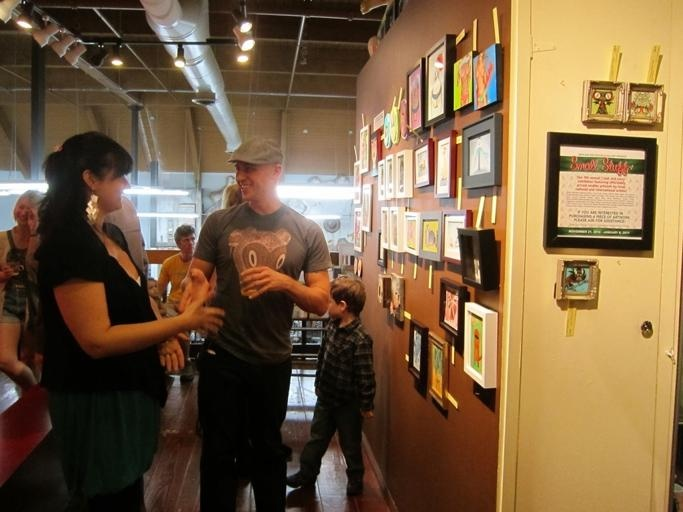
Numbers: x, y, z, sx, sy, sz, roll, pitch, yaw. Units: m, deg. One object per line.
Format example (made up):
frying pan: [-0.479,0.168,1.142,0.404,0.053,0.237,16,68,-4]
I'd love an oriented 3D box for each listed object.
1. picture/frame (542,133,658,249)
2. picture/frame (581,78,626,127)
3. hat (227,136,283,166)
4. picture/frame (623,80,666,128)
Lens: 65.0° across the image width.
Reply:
picture/frame: [0.945,-0.258,2.005,0.394,0.437,0.030,1,3,-6]
picture/frame: [0.965,-0.577,1.982,0.157,0.173,0.049,2,3,-5]
hat: [-0.407,-0.486,2.599,0.205,0.103,0.149,1,6,-29]
picture/frame: [1.130,-0.567,2.007,0.140,0.155,0.043,1,4,-7]
